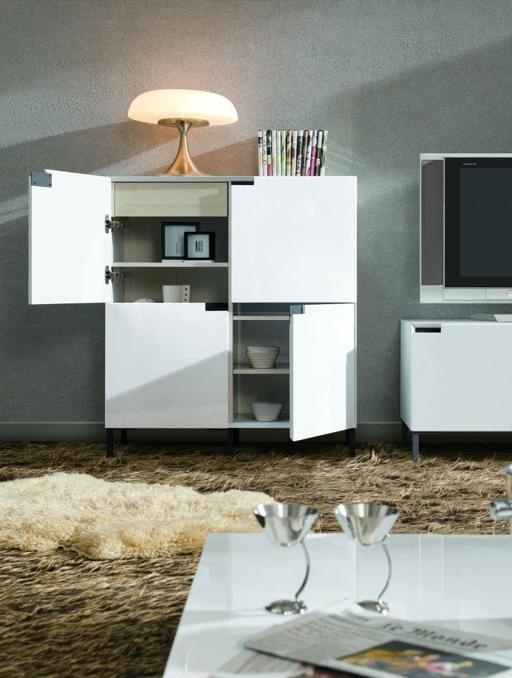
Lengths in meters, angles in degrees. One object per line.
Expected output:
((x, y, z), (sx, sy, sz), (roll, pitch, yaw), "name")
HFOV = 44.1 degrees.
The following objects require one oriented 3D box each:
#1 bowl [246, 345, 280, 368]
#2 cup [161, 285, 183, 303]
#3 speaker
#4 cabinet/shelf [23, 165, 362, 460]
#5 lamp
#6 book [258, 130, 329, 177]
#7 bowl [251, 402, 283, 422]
((0.034, 0.084, 3.143), (0.124, 0.080, 0.120), (1, 2, 0), "bowl")
((-0.418, -0.234, 3.137), (0.102, 0.065, 0.074), (2, 1, 13), "cup")
((0.907, -0.560, 3.249), (0.109, 0.760, 0.150), (3, 1, 41), "speaker")
((-0.276, -0.118, 3.048), (1.650, 1.276, 0.779), (0, -7, -9), "cabinet/shelf")
((-0.353, -1.028, 3.186), (0.567, 0.375, 0.533), (5, 12, 8), "lamp")
((0.171, -0.906, 3.086), (0.275, 0.210, 0.103), (0, 6, 2), "book")
((0.048, 0.350, 3.093), (0.109, 0.059, 0.103), (-2, 0, 0), "bowl")
